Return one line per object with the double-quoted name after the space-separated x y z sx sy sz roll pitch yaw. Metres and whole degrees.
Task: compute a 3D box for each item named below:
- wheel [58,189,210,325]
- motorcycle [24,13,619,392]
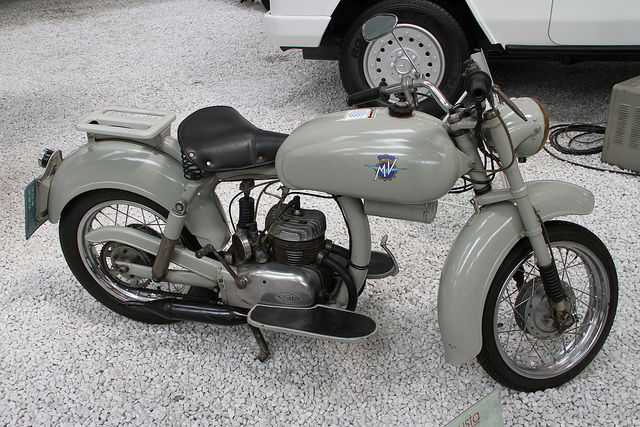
-1.042 0.257 2.841 0.665 0.691 0.177 11 29 17 "wheel"
0.085 -0.072 2.711 2.968 1.771 1.315 8 42 18 "motorcycle"
